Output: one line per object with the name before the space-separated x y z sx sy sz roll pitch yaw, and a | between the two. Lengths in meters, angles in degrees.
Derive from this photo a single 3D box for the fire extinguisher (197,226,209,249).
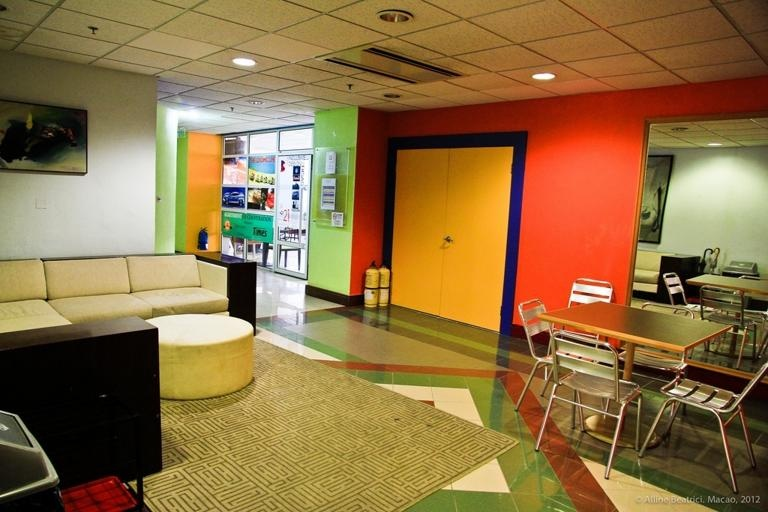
fire extinguisher | -4.463 -0.441 12.659 0.301 0.549 0.206 -4 16 -32

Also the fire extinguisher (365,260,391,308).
fire extinguisher | -0.105 0.491 9.016 0.531 0.758 0.346 -5 16 -33

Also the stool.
stool | -1.858 1.060 5.548 1.151 0.486 1.016 3 6 3
